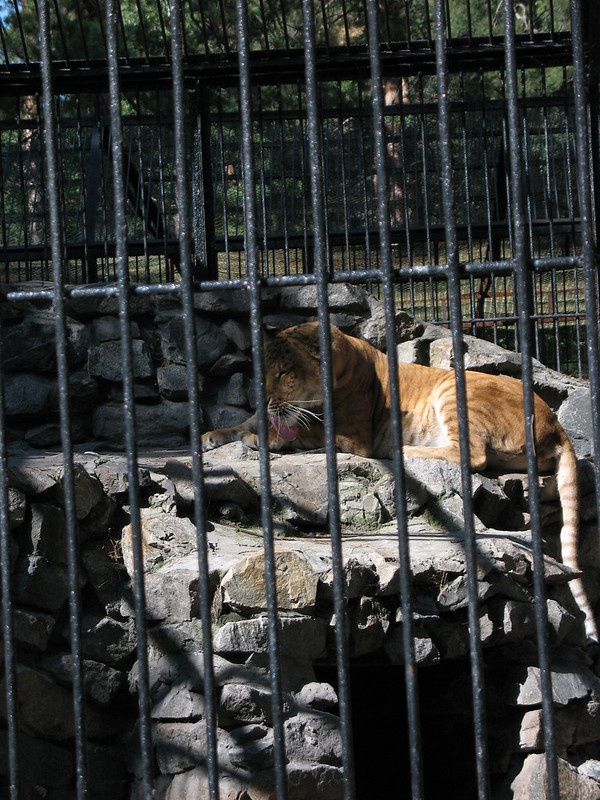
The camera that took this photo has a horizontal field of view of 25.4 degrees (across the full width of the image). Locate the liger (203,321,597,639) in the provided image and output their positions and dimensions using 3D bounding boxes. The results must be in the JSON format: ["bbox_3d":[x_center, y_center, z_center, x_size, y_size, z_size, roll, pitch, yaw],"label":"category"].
[{"bbox_3d":[0.576,0.058,7.398,1.710,0.532,1.497,9,34,-12],"label":"liger"}]
